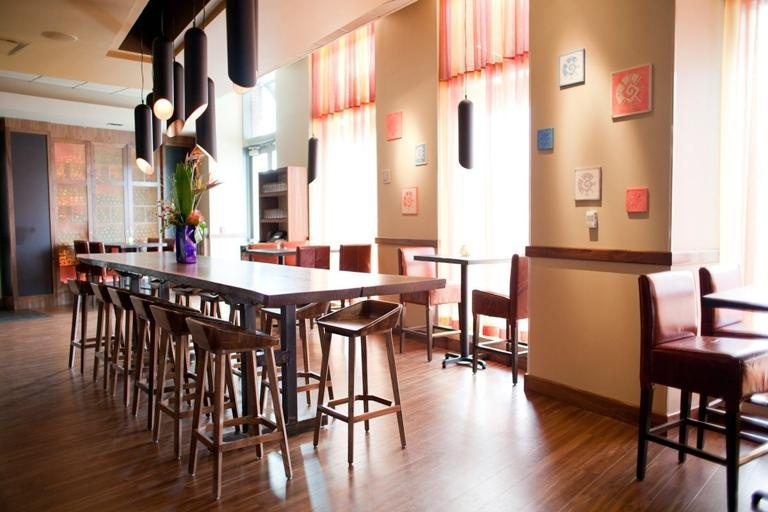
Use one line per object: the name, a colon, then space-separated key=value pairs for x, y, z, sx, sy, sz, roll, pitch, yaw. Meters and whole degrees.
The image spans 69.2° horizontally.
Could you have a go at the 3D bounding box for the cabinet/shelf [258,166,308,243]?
cabinet/shelf: x=-1.840 y=-0.943 z=10.148 sx=1.178 sy=1.402 sz=0.601 roll=12 pitch=18 yaw=43

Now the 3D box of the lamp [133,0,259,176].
lamp: x=-1.911 y=-1.625 z=5.332 sx=0.566 sy=1.740 sz=2.526 roll=-9 pitch=16 yaw=-33

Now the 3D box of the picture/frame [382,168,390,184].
picture/frame: x=0.035 y=-1.145 z=7.959 sx=0.033 sy=0.206 sz=0.163 roll=-12 pitch=17 yaw=-39

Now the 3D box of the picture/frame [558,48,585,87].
picture/frame: x=1.812 y=-1.837 z=5.359 sx=0.042 sy=0.450 sz=0.356 roll=-5 pitch=8 yaw=-37

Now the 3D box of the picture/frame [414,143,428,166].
picture/frame: x=0.496 y=-1.381 z=7.464 sx=0.040 sy=0.418 sz=0.297 roll=2 pitch=0 yaw=-35

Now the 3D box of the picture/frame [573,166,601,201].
picture/frame: x=1.941 y=-0.699 z=5.301 sx=0.033 sy=0.261 sz=0.304 roll=3 pitch=4 yaw=-37

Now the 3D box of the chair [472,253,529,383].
chair: x=1.290 y=0.629 z=6.205 sx=0.631 sy=1.408 sz=0.853 roll=5 pitch=14 yaw=22

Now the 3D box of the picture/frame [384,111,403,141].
picture/frame: x=0.132 y=-1.847 z=7.798 sx=0.045 sy=0.474 sz=0.388 roll=-3 pitch=8 yaw=-34

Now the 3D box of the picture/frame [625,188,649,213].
picture/frame: x=2.287 y=-0.509 z=5.012 sx=0.036 sy=0.282 sz=0.218 roll=5 pitch=-4 yaw=-33

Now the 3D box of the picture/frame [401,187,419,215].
picture/frame: x=0.356 y=-0.770 z=7.646 sx=0.041 sy=0.432 sz=0.345 roll=-4 pitch=8 yaw=-35

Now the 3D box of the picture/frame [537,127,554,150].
picture/frame: x=1.614 y=-1.189 z=5.566 sx=0.025 sy=0.257 sz=0.211 roll=1 pitch=3 yaw=-34
